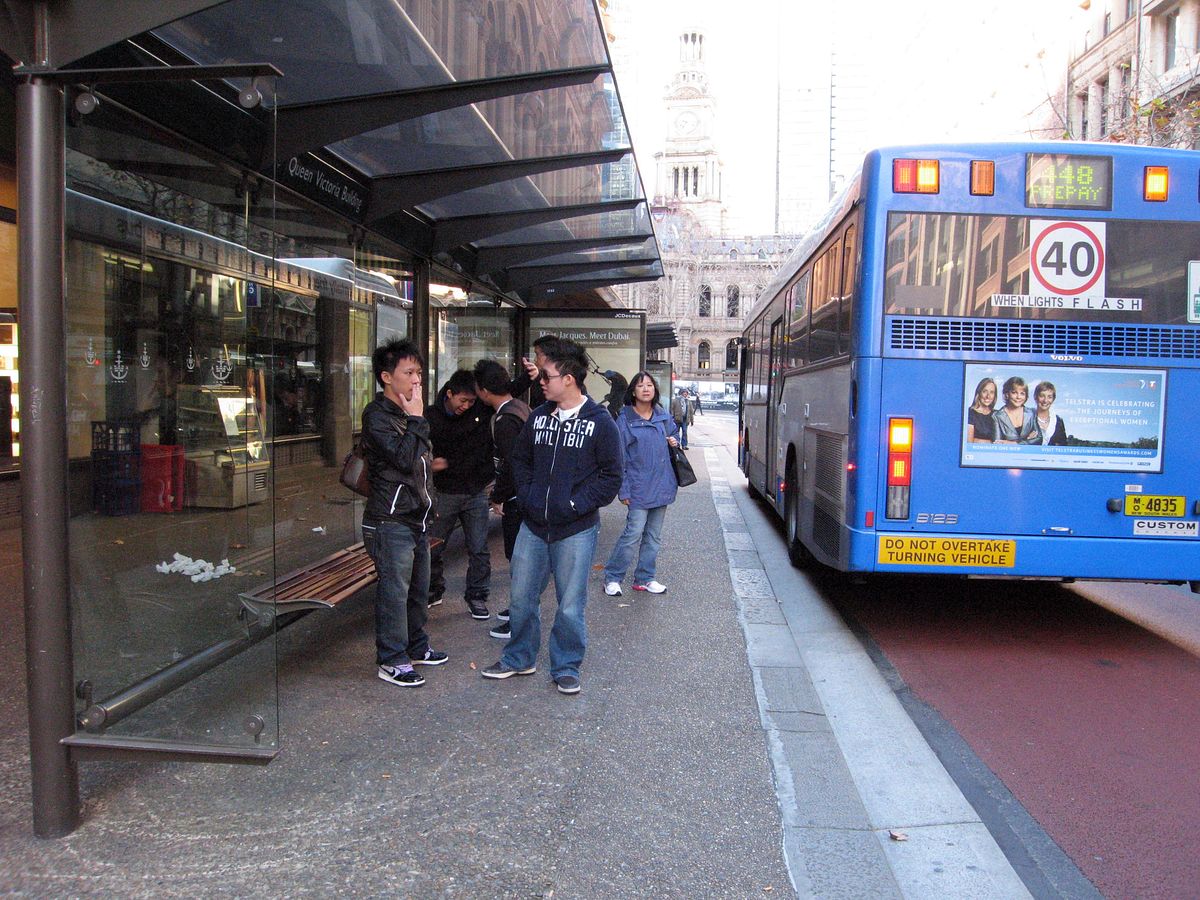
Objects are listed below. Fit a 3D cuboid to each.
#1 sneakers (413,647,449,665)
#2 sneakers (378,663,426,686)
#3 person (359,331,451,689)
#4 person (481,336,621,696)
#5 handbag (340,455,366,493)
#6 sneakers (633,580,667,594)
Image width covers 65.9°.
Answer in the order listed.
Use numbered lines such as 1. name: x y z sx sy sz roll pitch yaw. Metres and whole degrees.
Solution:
1. sneakers: -1.137 1.388 6.140 0.193 0.097 0.097 -2 4 -6
2. sneakers: -1.231 1.421 5.768 0.272 0.143 0.125 1 0 19
3. person: -1.256 0.400 5.813 0.457 2.140 0.435 0 5 -9
4. person: -0.259 0.409 5.771 0.788 2.165 0.378 3 5 23
5. handbag: -1.524 0.165 5.715 0.133 0.265 0.247 0 6 -18
6. sneakers: 0.448 1.259 8.455 0.265 0.132 0.113 1 4 22
